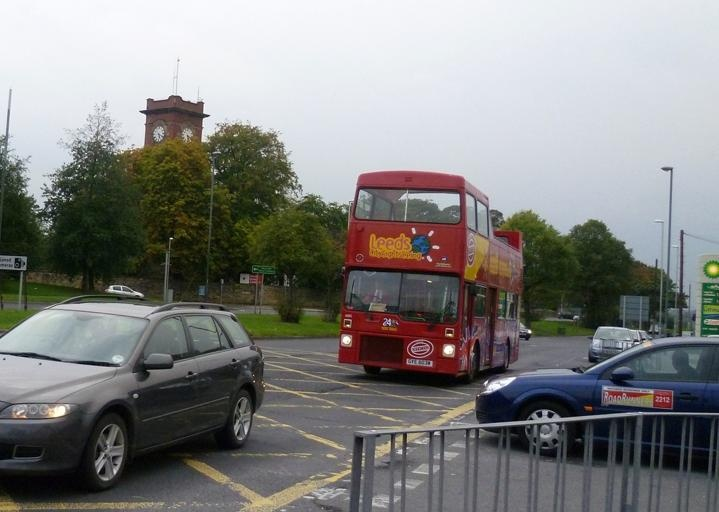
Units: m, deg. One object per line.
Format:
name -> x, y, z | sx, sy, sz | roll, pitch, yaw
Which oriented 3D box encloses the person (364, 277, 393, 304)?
person -> 0.476, 0.857, 16.708 | 0.631, 1.178, 0.648 | 2, 0, -5
